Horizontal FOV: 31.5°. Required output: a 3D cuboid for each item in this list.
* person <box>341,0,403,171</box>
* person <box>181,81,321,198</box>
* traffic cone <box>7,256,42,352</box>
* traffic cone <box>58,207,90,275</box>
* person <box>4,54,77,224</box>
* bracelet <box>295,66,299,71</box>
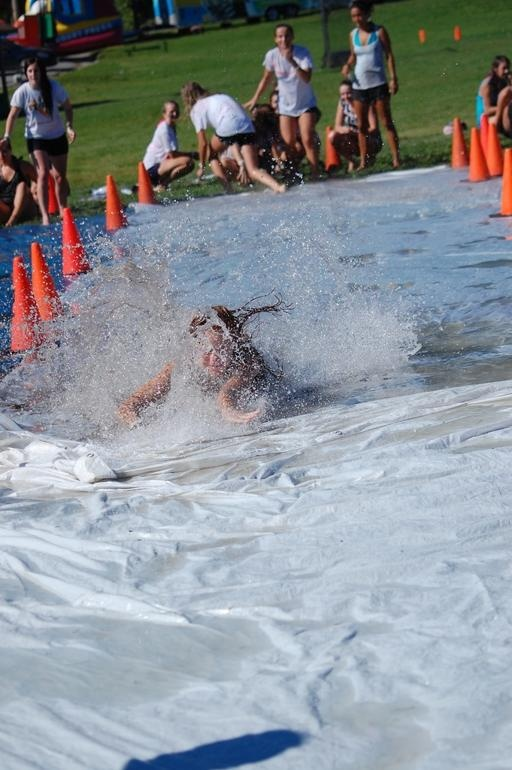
[{"bbox_3d":[1.066,-2.755,8.425,0.487,1.510,0.868,-9,15,9],"label":"person"},{"bbox_3d":[0.112,-2.319,8.102,0.591,0.994,1.652,-33,46,-25],"label":"person"},{"bbox_3d":[-1.326,-0.457,5.028,0.182,0.470,0.665,-15,14,-11],"label":"traffic cone"},{"bbox_3d":[-1.284,-0.981,6.231,0.188,0.447,0.453,-14,14,-8],"label":"traffic cone"},{"bbox_3d":[-1.779,-2.011,7.598,0.575,1.312,0.720,-13,15,-6],"label":"person"},{"bbox_3d":[0.351,-2.733,7.827,0.025,0.030,0.009,-18,12,-22],"label":"bracelet"}]
